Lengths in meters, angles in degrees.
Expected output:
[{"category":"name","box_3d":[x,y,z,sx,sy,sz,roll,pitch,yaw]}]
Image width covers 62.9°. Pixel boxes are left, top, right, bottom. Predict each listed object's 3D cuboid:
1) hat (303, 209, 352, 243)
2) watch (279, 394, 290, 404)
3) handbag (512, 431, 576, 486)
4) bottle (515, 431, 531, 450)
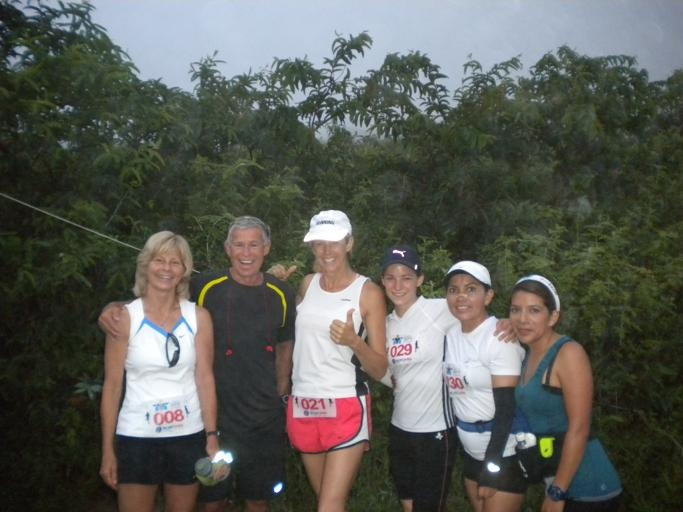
[{"category":"hat","box_3d":[-0.112,-0.268,4.823,0.381,0.290,0.527,-3,6,19]},{"category":"watch","box_3d":[-0.505,1.275,4.956,0.066,0.099,0.070,-7,7,7]},{"category":"handbag","box_3d":[1.560,1.591,4.307,0.375,0.238,0.411,-16,33,31]},{"category":"bottle","box_3d":[1.400,1.405,4.301,0.113,0.097,0.043,0,1,11]}]
